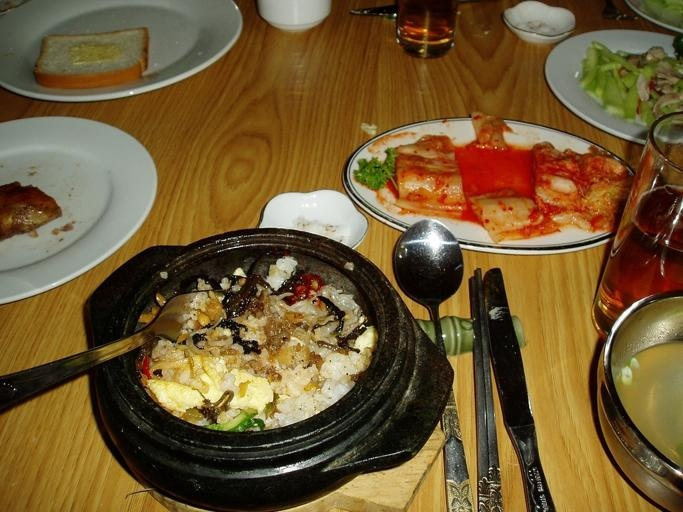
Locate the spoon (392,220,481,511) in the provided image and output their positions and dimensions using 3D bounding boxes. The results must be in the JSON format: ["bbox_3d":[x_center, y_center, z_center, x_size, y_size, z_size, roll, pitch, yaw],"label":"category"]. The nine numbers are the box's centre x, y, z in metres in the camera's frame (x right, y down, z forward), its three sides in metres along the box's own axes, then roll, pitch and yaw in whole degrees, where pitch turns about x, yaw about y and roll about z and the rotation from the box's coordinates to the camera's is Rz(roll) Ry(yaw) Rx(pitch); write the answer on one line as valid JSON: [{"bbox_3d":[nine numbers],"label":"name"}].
[{"bbox_3d":[0.229,0.233,1.412,0.148,0.077,0.721,-1,66,3],"label":"spoon"}]

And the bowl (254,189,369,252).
[{"bbox_3d":[-0.090,-0.102,1.724,0.228,0.040,0.195,-8,55,-11],"label":"bowl"}]

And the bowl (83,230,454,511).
[{"bbox_3d":[-0.152,0.217,1.262,0.743,0.156,0.612,-12,64,-7],"label":"bowl"}]
